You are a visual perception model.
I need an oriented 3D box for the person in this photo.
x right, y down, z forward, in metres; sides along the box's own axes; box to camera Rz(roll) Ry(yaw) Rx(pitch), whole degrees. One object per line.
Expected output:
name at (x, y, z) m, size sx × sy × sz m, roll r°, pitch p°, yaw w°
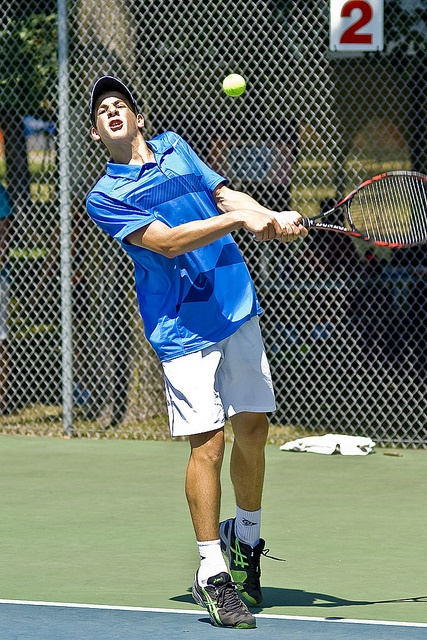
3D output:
person at (-0.072, 0.065, 2.343) m, size 0.686 × 1.773 × 0.582 m, roll 1°, pitch -1°, yaw -10°

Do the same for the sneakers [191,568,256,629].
sneakers at (0.028, 0.835, 2.159) m, size 0.103 × 0.143 × 0.239 m, roll 1°, pitch -1°, yaw -29°

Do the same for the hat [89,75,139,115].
hat at (-0.351, -0.789, 2.466) m, size 0.126 × 0.154 × 0.051 m, roll -1°, pitch 20°, yaw 0°
